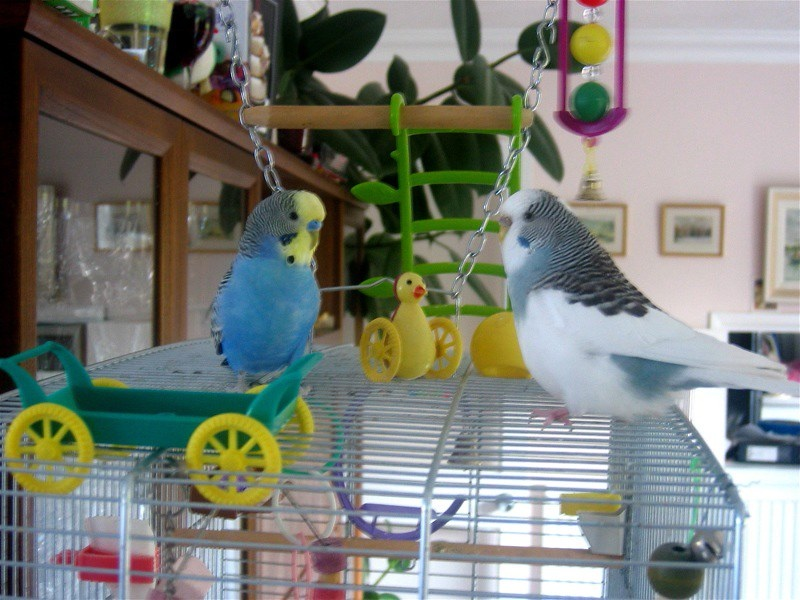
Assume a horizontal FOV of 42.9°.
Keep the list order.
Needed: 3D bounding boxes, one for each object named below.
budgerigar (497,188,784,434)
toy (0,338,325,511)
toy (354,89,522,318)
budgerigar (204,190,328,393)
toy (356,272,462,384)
[{"bbox_3d":[0.366,0.007,1.544,0.431,0.361,0.129,1,-3,5],"label":"budgerigar"},{"bbox_3d":[-0.334,0.176,1.466,0.395,0.194,0.239,2,-2,0],"label":"toy"},{"bbox_3d":[0.057,-0.182,1.943,0.423,0.483,0.455,1,0,3],"label":"toy"},{"bbox_3d":[-0.226,-0.043,1.733,0.185,0.347,0.298,-16,22,-41],"label":"budgerigar"},{"bbox_3d":[0.018,0.049,1.733,0.139,0.197,0.098,0,0,-36],"label":"toy"}]
